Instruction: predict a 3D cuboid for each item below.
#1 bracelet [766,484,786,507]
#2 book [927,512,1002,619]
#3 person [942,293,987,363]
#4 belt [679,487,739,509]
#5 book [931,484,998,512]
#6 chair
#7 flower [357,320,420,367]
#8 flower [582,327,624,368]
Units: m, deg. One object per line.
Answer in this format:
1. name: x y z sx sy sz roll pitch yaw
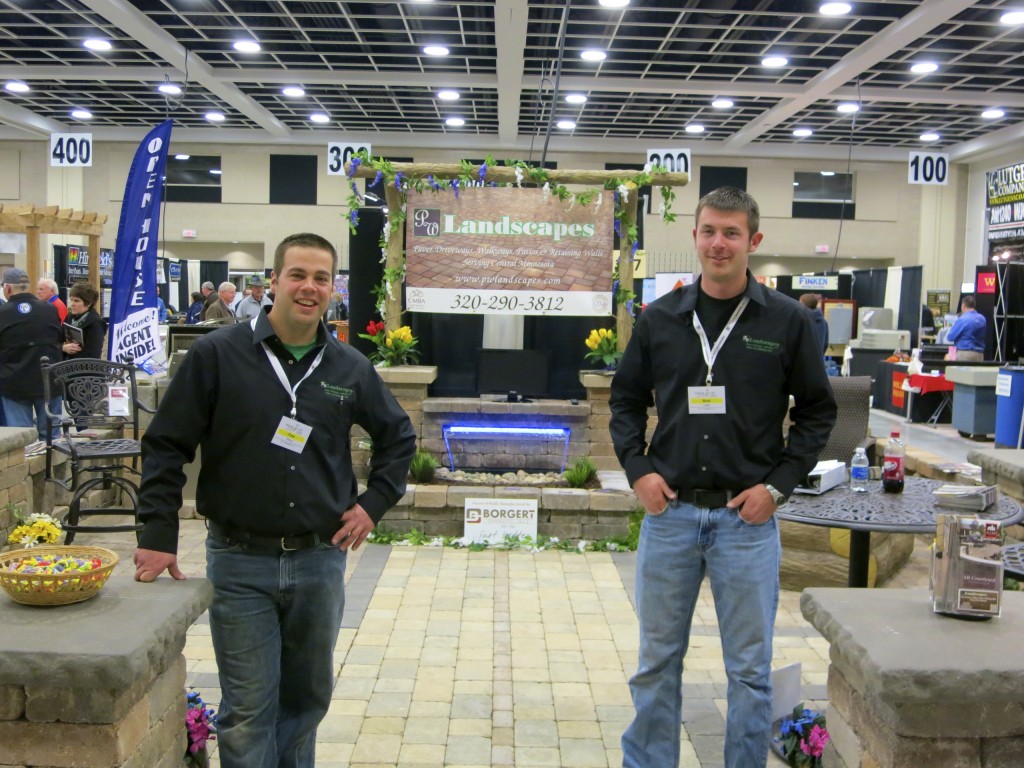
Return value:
1. bracelet: 0.866 0.372 2.653 0.039 0.075 0.065 -41 -30 18
2. book: 1.408 0.557 2.404 0.237 0.310 0.115 1 6 0
3. person: 7.399 -0.924 12.852 0.549 1.023 1.459 4 7 30
4. belt: 0.657 0.386 2.673 0.193 0.065 0.023 2 6 12
5. book: 2.088 0.523 3.664 0.165 0.069 0.168 1 2 23
6. chair: -2.859 0.484 5.522 0.815 1.380 0.771 -1 1 -8
7. flower: -1.099 -0.361 6.980 0.461 0.340 0.476 3 3 10
8. flower: 0.840 -0.310 7.051 0.349 0.355 0.350 0 -1 -16
